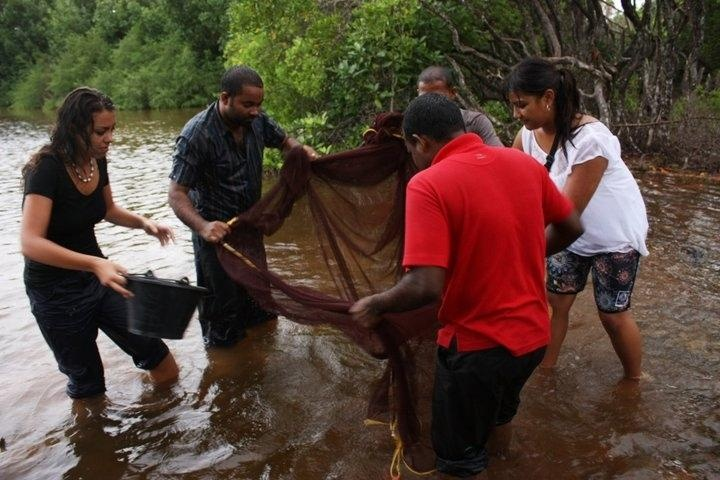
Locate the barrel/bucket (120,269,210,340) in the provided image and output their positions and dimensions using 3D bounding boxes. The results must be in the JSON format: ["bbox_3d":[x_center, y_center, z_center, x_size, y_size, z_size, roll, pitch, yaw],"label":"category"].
[{"bbox_3d":[-1.838,0.606,5.274,0.748,0.526,0.749,9,-12,2],"label":"barrel/bucket"}]

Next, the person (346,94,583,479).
[{"bbox_3d":[0.822,0.383,4.358,1.539,2.719,0.877,-1,17,1],"label":"person"}]

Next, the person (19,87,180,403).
[{"bbox_3d":[-2.428,0.116,5.165,1.097,2.869,0.919,-12,20,-33],"label":"person"}]

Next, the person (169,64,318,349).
[{"bbox_3d":[-1.320,-0.273,5.850,1.165,2.887,0.781,-8,18,-21],"label":"person"}]
